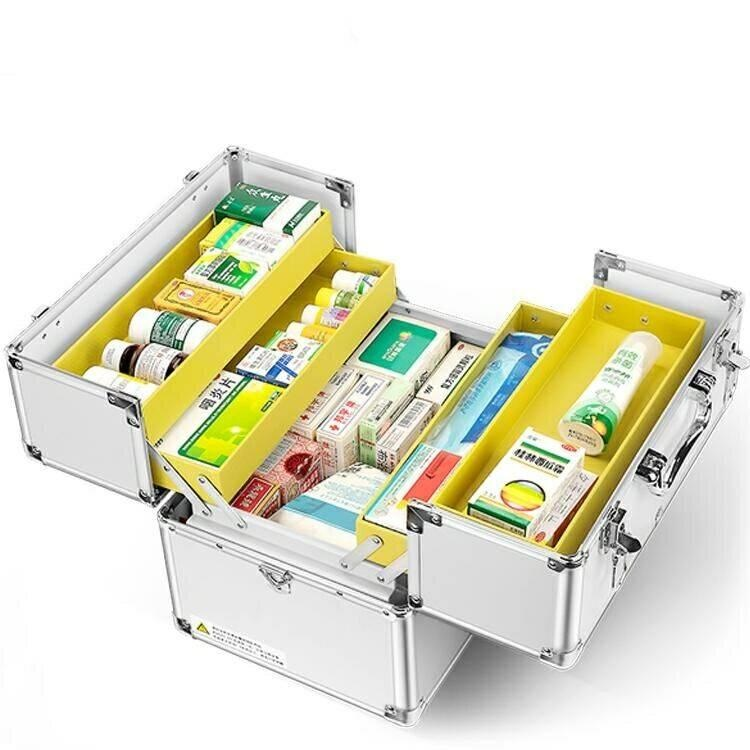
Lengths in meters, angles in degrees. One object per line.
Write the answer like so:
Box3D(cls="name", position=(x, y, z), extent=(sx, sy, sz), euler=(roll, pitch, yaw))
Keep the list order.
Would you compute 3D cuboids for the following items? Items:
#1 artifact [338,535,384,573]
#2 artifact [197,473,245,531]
Box3D(cls="artifact", position=(-0.058, 0.582, 2.745), extent=(0.067, 0.070, 0.228), euler=(49, -49, -6))
Box3D(cls="artifact", position=(-0.559, 0.453, 3.019), extent=(0.244, 0.070, 0.053), euler=(49, -56, 1))
